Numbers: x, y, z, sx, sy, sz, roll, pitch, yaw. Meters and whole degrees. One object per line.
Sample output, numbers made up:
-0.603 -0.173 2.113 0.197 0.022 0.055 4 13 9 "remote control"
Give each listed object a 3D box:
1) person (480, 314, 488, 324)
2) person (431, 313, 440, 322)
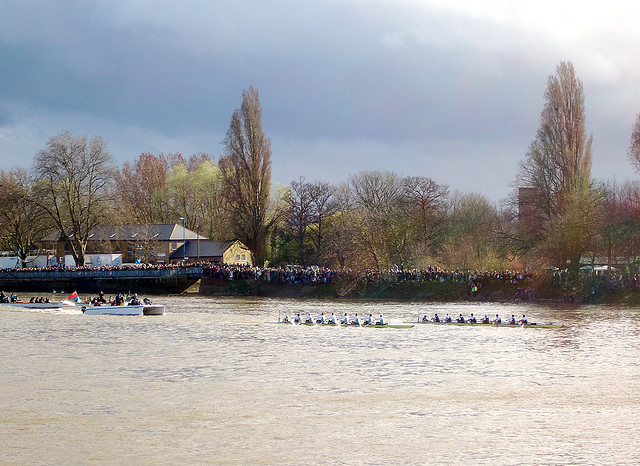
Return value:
14.216 7.230 96.080 0.318 0.463 1.082 8 38 20 "person"
10.127 7.289 96.882 0.518 0.543 1.003 0 11 0 "person"
